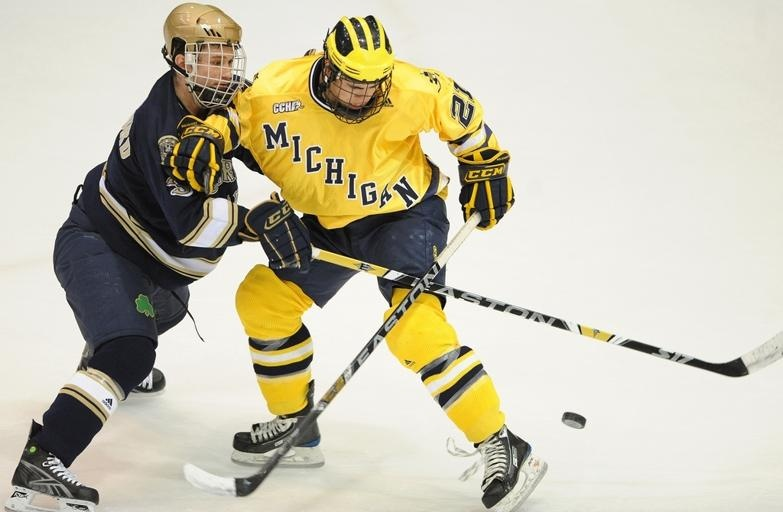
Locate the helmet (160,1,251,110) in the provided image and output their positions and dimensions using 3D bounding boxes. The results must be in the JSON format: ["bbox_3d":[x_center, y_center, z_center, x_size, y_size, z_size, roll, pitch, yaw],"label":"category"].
[{"bbox_3d":[-0.871,-0.928,3.511,0.395,0.378,0.169,10,3,-8],"label":"helmet"}]

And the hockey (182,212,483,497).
[{"bbox_3d":[-0.329,0.579,4.024,0.099,1.959,0.327,44,7,-35],"label":"hockey"}]

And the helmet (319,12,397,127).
[{"bbox_3d":[-0.207,-0.871,3.583,0.386,0.470,0.447,-8,53,-17],"label":"helmet"}]

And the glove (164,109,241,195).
[{"bbox_3d":[-0.887,-0.497,3.590,0.290,0.388,0.164,24,-26,-17],"label":"glove"}]

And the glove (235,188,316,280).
[{"bbox_3d":[-0.524,-0.097,3.504,0.275,0.377,0.120,-27,13,0],"label":"glove"}]
